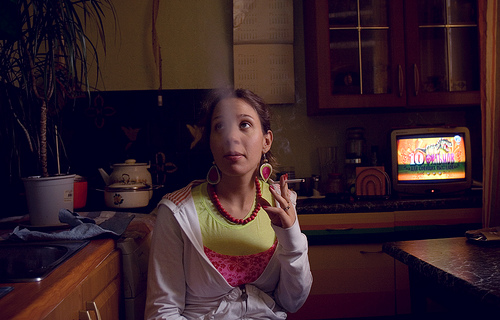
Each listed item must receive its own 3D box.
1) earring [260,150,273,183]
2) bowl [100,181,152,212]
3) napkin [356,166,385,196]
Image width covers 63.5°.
[{"bbox_3d":[0.085,0.033,2.147,0.059,0.168,0.125,-2,5,5],"label":"earring"},{"bbox_3d":[-0.880,0.254,2.914,0.377,0.187,0.357,-3,-1,0],"label":"bowl"},{"bbox_3d":[0.944,0.162,3.138,0.222,0.224,0.022,0,-1,9],"label":"napkin"}]
